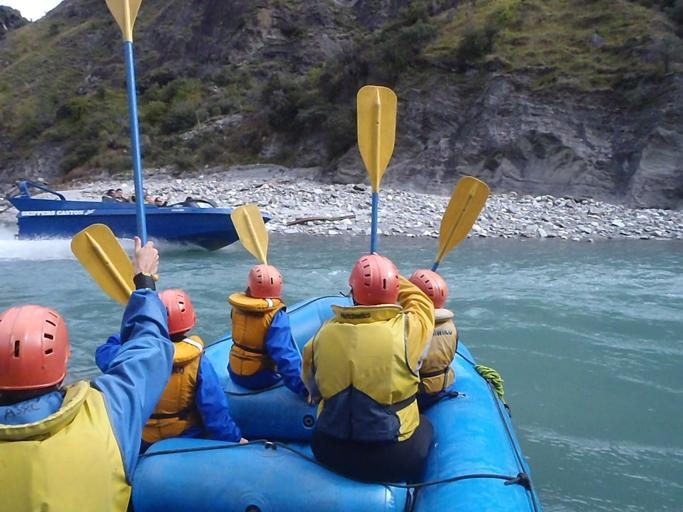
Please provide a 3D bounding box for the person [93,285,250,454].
[{"bbox_3d":[-1.339,0.946,5.003,0.909,1.027,0.651,12,23,6],"label":"person"}]

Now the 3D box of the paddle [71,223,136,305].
[{"bbox_3d":[-2.003,0.008,5.273,0.329,0.116,0.843,-44,-15,-18],"label":"paddle"}]

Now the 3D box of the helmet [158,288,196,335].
[{"bbox_3d":[-1.281,0.463,5.003,0.254,0.299,0.358,-10,-20,-11],"label":"helmet"}]

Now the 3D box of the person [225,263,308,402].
[{"bbox_3d":[-0.722,0.767,6.021,0.907,1.010,0.693,18,17,31],"label":"person"}]

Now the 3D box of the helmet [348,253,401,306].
[{"bbox_3d":[0.235,0.191,4.666,0.301,0.377,0.388,6,15,-3],"label":"helmet"}]

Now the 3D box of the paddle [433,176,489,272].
[{"bbox_3d":[1.173,-0.232,6.657,0.356,1.422,0.142,27,49,8],"label":"paddle"}]

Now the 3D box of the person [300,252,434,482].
[{"bbox_3d":[0.208,1.023,4.687,0.990,1.342,0.468,0,13,-5],"label":"person"}]

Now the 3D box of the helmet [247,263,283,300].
[{"bbox_3d":[-0.684,0.229,5.674,0.228,0.321,0.324,5,5,-9],"label":"helmet"}]

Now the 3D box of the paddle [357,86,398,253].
[{"bbox_3d":[0.337,-0.650,6.030,0.443,2.252,0.414,4,-17,-8],"label":"paddle"}]
